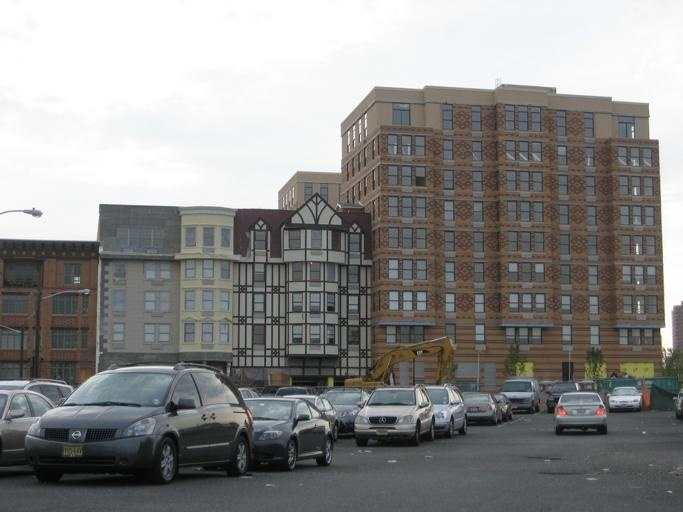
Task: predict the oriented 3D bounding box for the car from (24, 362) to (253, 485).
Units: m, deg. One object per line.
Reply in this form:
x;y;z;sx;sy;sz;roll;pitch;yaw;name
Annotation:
-3.888;3.469;22.948;2.330;2.249;5.783;-1;-5;12;car

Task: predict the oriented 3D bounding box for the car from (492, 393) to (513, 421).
7.867;7.349;53.639;0.865;0.793;2.132;-3;-17;8;car

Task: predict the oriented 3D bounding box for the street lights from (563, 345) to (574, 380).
18.015;8.384;87.425;0.919;2.668;0.425;-2;-8;10;street lights

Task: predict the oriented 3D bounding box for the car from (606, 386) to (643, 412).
17.304;8.741;66.955;1.843;1.466;3.176;-3;-8;16;car

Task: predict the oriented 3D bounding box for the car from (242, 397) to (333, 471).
-1.718;4.493;28.232;2.202;1.735;5.054;2;-8;15;car

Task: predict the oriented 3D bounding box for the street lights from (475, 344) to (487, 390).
10.856;8.585;85.727;0.419;3.449;0.857;-8;-10;43;street lights

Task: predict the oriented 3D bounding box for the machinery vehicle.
3.454;6.309;62.776;6.336;3.049;1.624;-4;-8;30;machinery vehicle

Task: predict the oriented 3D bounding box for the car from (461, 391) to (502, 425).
6.330;6.875;49.566;1.525;1.448;2.328;-1;-8;7;car

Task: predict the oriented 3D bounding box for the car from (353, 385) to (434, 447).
1.868;5.116;36.526;2.307;1.754;4.998;-1;-2;12;car
